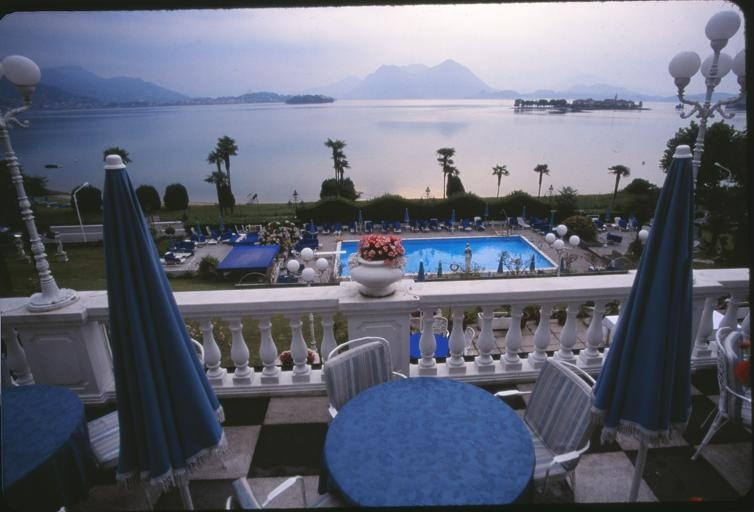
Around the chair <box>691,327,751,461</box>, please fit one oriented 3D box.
[{"bbox_3d":[3.345,1.336,5.366,0.679,1.191,0.422,-14,14,-43],"label":"chair"}]

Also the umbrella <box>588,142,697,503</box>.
[{"bbox_3d":[2.354,0.656,4.895,0.876,3.151,0.330,-6,10,-11],"label":"umbrella"}]

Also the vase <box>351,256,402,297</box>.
[{"bbox_3d":[-0.016,0.180,5.979,0.580,0.423,0.553,-1,11,-2],"label":"vase"}]

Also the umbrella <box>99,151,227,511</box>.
[{"bbox_3d":[-1.875,0.688,4.715,0.919,3.056,0.435,-7,11,-13],"label":"umbrella"}]
